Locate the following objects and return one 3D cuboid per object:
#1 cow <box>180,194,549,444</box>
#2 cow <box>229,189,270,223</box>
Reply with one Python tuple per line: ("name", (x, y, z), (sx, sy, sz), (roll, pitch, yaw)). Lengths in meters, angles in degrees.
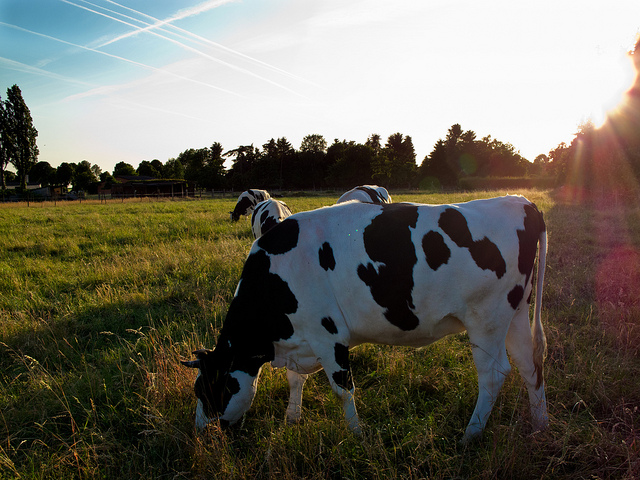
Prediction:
("cow", (0.524, 1.124, 6.330), (4.317, 3.651, 1.396), (-1, 10, 7))
("cow", (-3.085, -1.406, 20.007), (0.401, 1.095, 1.799), (15, 15, 17))
